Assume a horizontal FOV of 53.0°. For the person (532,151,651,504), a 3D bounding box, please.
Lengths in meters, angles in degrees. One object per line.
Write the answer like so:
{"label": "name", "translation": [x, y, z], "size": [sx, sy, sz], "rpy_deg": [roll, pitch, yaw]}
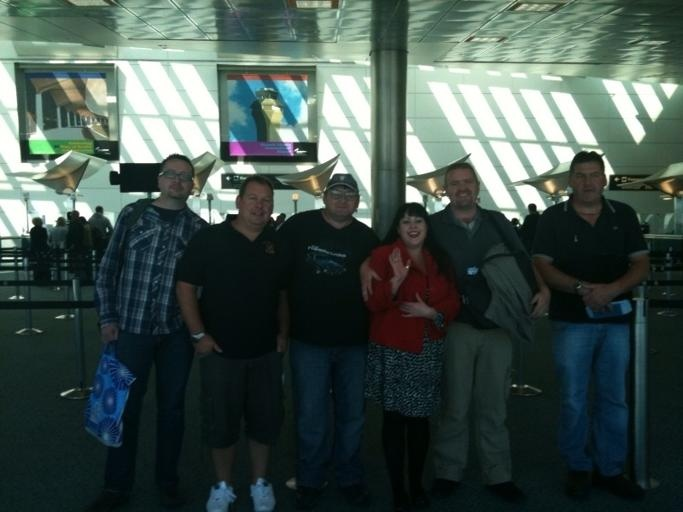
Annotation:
{"label": "person", "translation": [2.176, 0.530, 5.918], "size": [0.910, 2.819, 1.032], "rpy_deg": [-1, 12, -5]}

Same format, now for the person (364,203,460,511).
{"label": "person", "translation": [0.563, 0.805, 5.746], "size": [0.735, 2.423, 0.931], "rpy_deg": [4, 13, 17]}

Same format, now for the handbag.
{"label": "handbag", "translation": [-1.902, 1.164, 5.635], "size": [0.359, 0.838, 0.289], "rpy_deg": [8, 15, 33]}

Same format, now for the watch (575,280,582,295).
{"label": "watch", "translation": [2.001, 0.263, 5.781], "size": [0.074, 0.093, 0.086], "rpy_deg": [1, 44, 19]}
